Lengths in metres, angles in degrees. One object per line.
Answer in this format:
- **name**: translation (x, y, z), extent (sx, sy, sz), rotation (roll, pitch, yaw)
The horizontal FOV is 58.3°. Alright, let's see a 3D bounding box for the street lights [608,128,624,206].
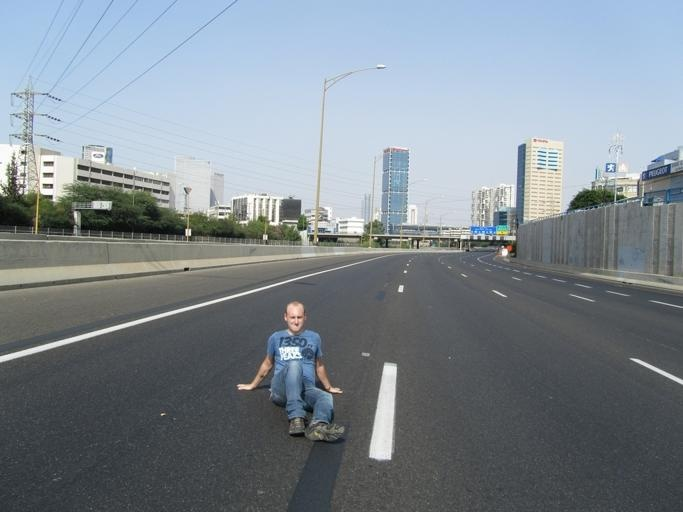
- **street lights**: translation (21.808, -6.528, 48.831), extent (0.914, 4.842, 0.923), rotation (-16, 23, -18)

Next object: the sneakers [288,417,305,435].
- **sneakers**: translation (-0.468, 1.868, 6.697), extent (0.213, 0.199, 0.177), rotation (-1, 10, -19)

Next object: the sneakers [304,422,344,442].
- **sneakers**: translation (-0.173, 1.862, 6.639), extent (0.424, 0.195, 0.215), rotation (-2, 7, 11)
